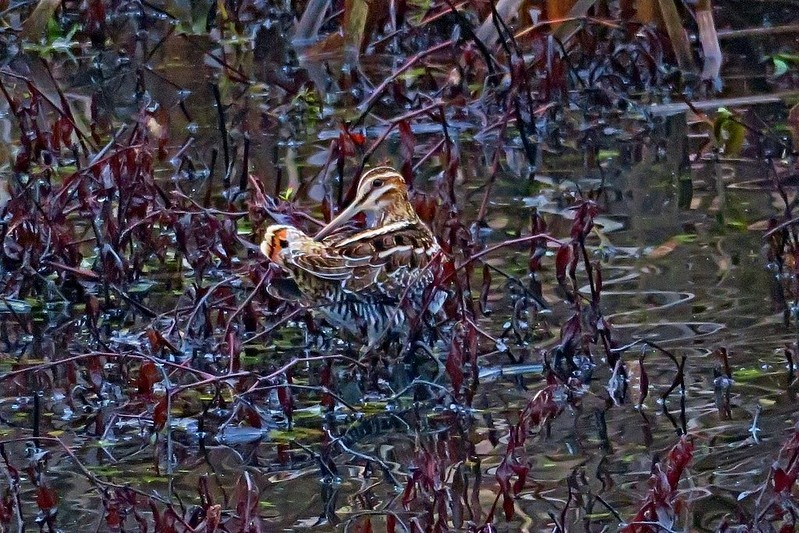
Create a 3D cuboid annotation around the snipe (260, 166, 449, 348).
[{"bbox_3d":[-0.224,-0.051,3.374,0.774,0.411,0.575,1,94,-31],"label":"snipe"}]
